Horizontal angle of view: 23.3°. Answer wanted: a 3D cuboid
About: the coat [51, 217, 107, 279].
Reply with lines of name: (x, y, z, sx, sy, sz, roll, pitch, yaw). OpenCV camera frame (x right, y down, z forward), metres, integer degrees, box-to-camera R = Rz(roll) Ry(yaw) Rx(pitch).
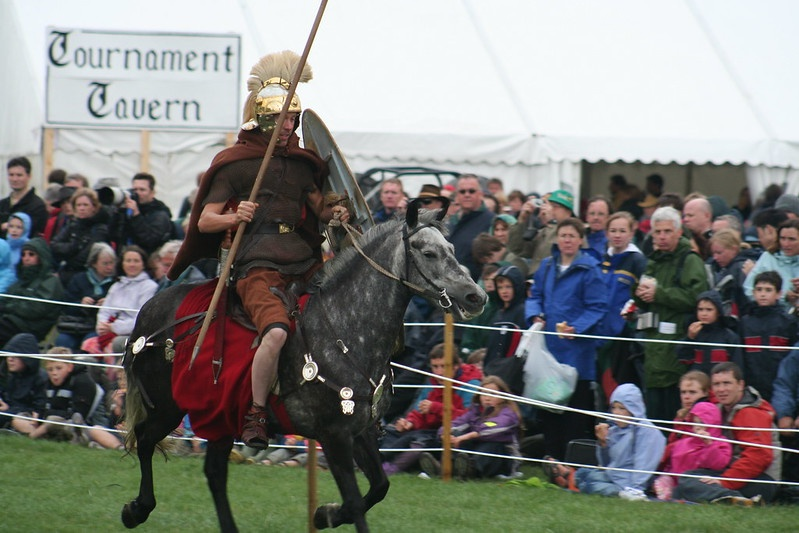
coat: (-3.731, -0.255, 23.632, 0.667, 0.756, 0.346, 12, -9, 40)

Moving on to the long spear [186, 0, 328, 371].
long spear: (-1.475, -0.560, 20.154, 0.103, 4.630, 0.247, 25, -5, 18)

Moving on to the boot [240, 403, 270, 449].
boot: (-1.440, 1.628, 19.673, 0.297, 0.430, 0.205, 2, -3, -22)

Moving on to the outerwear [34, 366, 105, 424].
outerwear: (-3.827, 1.482, 22.938, 0.620, 0.770, 0.954, -2, 9, -32)

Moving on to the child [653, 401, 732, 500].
child: (3.230, 2.043, 21.471, 0.801, 1.101, 0.980, 3, -1, -37)

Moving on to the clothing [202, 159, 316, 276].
clothing: (-1.429, -0.520, 19.881, 1.421, 1.099, 0.709, 1, -7, -20)

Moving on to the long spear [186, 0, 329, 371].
long spear: (-1.469, -0.558, 20.145, 0.103, 4.644, 0.248, 25, -4, 18)

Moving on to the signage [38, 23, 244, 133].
signage: (-3.085, -2.278, 23.588, 2.778, 1.273, 0.112, 3, 5, 24)

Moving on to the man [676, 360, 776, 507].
man: (3.645, 1.827, 21.293, 1.034, 1.522, 0.305, 1, -3, 8)
